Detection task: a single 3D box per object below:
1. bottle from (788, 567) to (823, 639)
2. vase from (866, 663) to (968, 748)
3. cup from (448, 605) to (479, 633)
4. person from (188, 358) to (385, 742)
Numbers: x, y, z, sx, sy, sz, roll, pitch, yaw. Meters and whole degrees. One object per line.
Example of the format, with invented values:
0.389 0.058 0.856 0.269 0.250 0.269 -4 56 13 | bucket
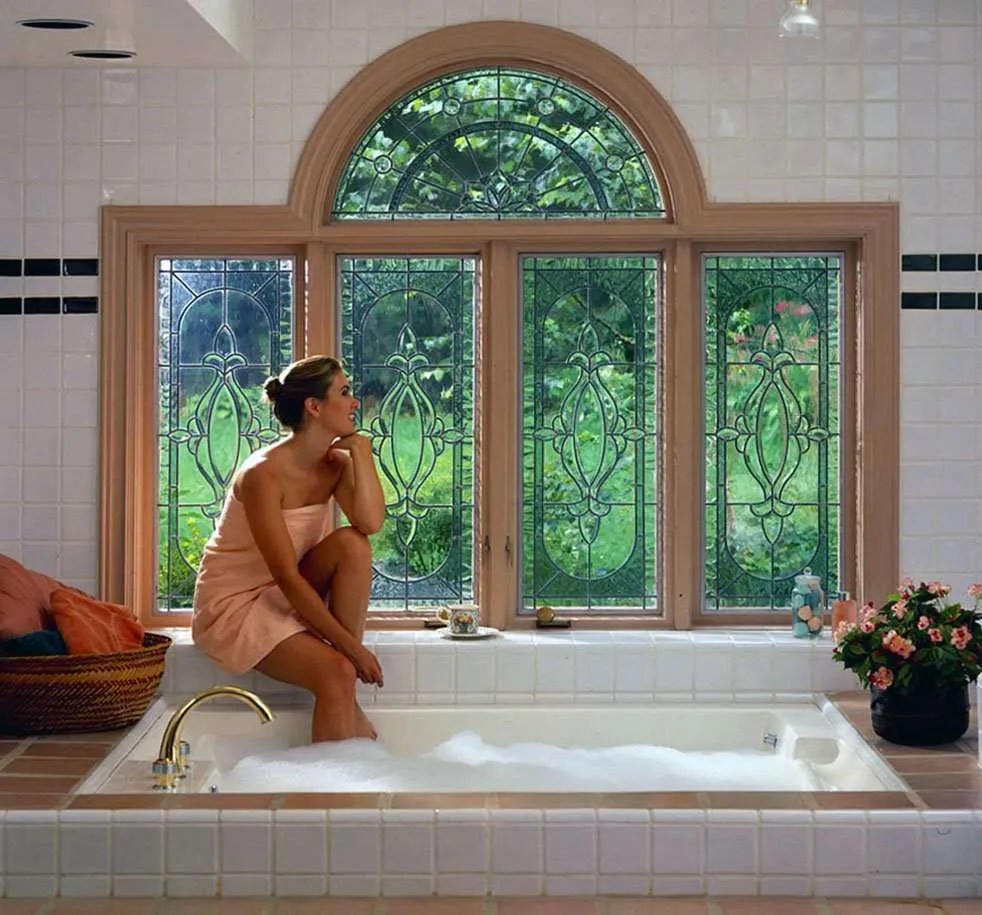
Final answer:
1.077 0.507 3.775 0.096 0.195 0.167 0 1 17 | bottle
1.135 0.667 2.934 0.227 0.179 0.205 0 -10 0 | vase
-0.093 0.554 3.721 0.092 0.065 0.083 0 -6 -5 | cup
-0.609 0.266 3.319 0.605 1.113 0.338 0 1 23 | person
